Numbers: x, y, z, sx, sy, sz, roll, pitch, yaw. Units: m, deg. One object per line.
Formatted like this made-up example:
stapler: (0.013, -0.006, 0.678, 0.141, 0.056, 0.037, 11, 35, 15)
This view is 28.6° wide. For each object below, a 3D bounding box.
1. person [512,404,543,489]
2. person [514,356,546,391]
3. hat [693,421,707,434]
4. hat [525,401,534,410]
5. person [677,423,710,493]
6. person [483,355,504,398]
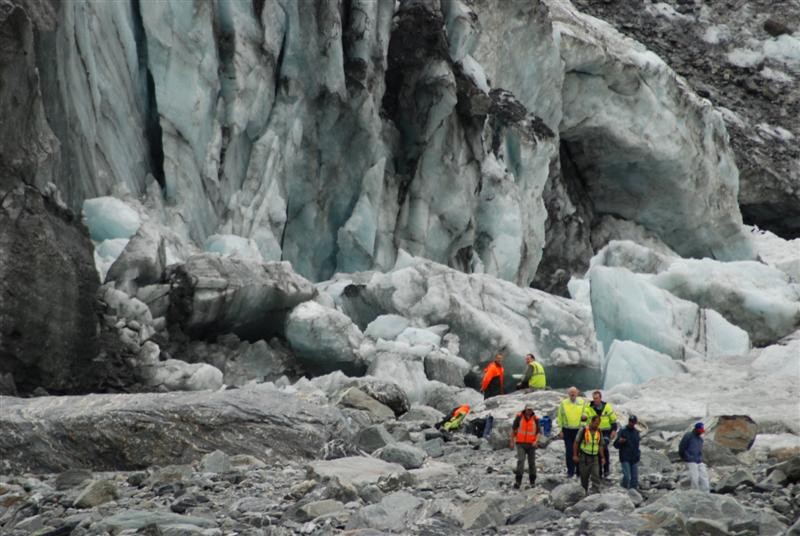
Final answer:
person: (3.359, 4.762, 42.055, 0.695, 2.161, 0.941, 1, 3, 5)
person: (3.826, 3.062, 45.749, 0.761, 1.026, 0.872, -1, 0, -39)
hat: (7.946, 4.262, 41.773, 0.283, 0.343, 0.614, 1, 3, 8)
hat: (3.587, 3.813, 43.278, 0.220, 0.334, 0.342, -6, -8, 11)
person: (7.813, 4.986, 41.621, 0.826, 1.777, 0.527, 1, 3, 11)
person: (2.773, 3.269, 46.302, 0.368, 1.103, 0.924, 20, 33, 30)
